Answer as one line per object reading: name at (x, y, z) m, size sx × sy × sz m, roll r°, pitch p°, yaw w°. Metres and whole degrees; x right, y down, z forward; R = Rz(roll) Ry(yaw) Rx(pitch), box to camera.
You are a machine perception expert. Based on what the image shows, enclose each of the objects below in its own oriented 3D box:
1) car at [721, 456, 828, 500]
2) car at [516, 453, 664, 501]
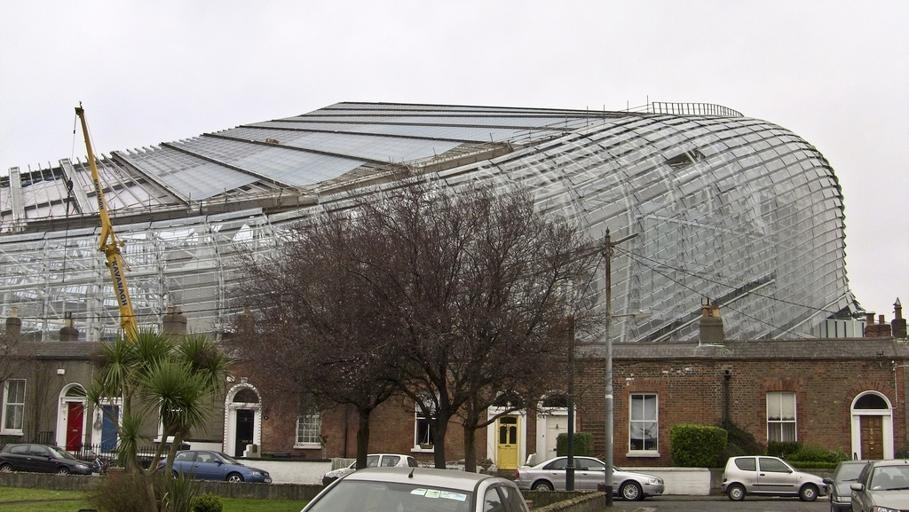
car at (17.992, 12.663, 68.602) m, size 4.874 × 1.951 × 2.509 m, roll -3°, pitch -4°, yaw 4°
car at (7.930, 12.897, 68.963) m, size 8.169 × 2.262 × 3.117 m, roll -1°, pitch -6°, yaw 7°
